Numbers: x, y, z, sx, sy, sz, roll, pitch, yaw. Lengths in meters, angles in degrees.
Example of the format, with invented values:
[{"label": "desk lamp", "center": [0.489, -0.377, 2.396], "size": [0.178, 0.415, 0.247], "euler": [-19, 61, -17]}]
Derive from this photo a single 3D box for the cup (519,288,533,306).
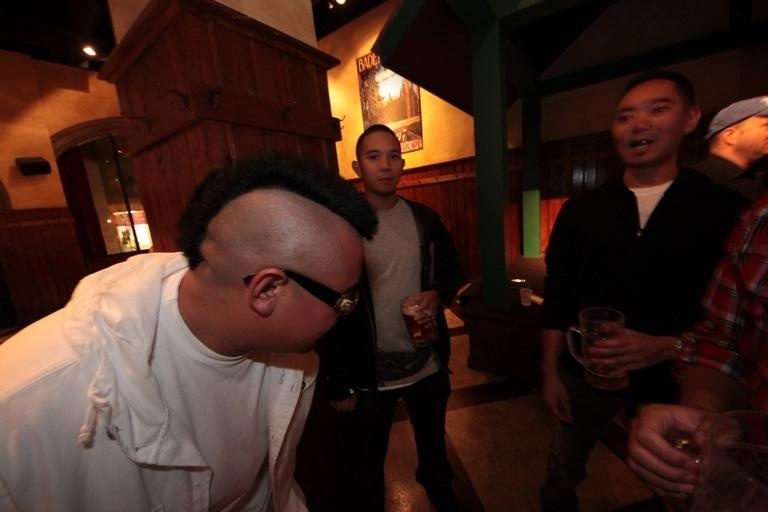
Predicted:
[{"label": "cup", "center": [1.359, 0.396, 4.931], "size": [0.142, 0.166, 0.120], "euler": [-6, 14, -22]}]
